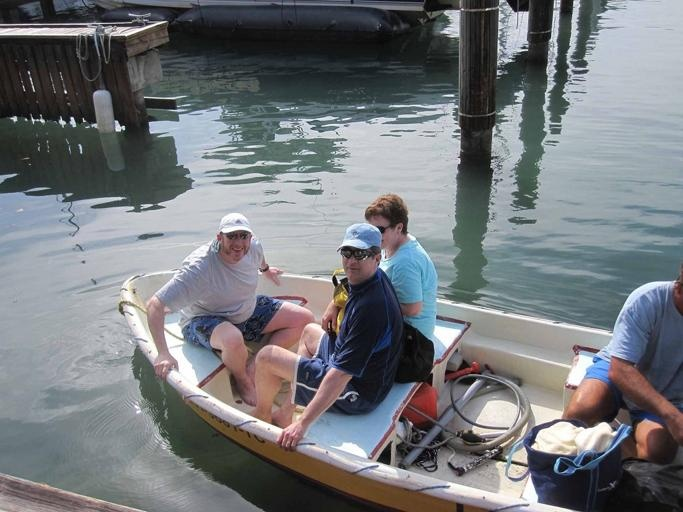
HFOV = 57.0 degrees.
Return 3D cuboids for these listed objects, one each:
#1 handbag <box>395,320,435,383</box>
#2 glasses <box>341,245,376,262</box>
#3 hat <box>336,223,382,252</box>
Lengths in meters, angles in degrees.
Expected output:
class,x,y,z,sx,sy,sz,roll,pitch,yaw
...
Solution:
class,x,y,z,sx,sy,sz,roll,pitch,yaw
handbag,0.469,0.783,5.105,0.310,0.499,0.425,-6,20,-11
glasses,0.034,-0.024,4.739,0.255,0.094,0.099,1,21,9
hat,0.084,-0.139,4.773,0.198,0.137,0.278,6,4,26
